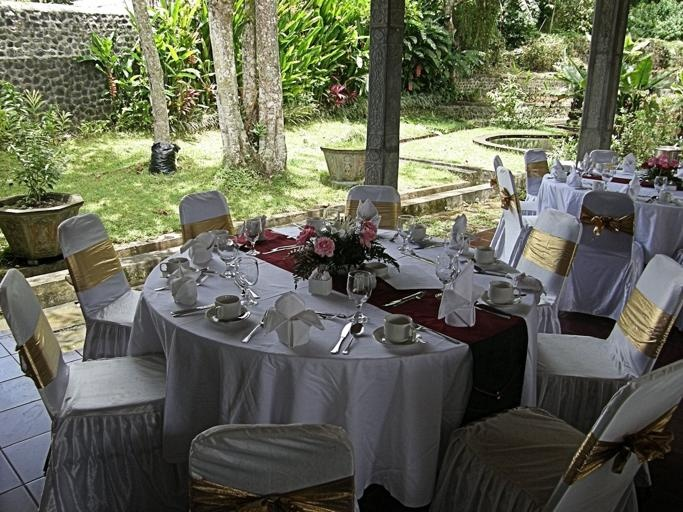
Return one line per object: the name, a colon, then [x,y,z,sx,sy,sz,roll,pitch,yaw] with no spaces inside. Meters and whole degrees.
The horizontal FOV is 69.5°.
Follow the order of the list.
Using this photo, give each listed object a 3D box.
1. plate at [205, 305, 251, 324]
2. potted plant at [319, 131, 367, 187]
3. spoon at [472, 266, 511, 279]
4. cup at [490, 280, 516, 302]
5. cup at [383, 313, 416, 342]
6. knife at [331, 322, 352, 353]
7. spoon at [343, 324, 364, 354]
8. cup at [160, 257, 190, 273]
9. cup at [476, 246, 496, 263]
plate: [-0.520,0.274,2.271,0.203,0.045,0.145,-3,17,-11]
potted plant: [-0.115,-1.626,8.746,0.899,0.617,0.962,1,11,-11]
spoon: [0.845,0.089,2.781,0.188,0.025,0.111,5,17,15]
cup: [0.807,0.167,2.469,0.111,0.090,0.089,5,14,13]
cup: [0.255,0.317,2.129,0.088,0.095,0.134,-5,18,-12]
knife: [-0.001,0.357,2.129,0.034,0.022,0.278,8,22,10]
spoon: [0.051,0.357,2.147,0.041,0.028,0.193,7,33,14]
cup: [-0.923,0.040,2.735,0.137,0.090,0.104,-8,22,-19]
cup: [0.832,-0.011,2.854,0.099,0.078,0.075,-2,13,-7]
